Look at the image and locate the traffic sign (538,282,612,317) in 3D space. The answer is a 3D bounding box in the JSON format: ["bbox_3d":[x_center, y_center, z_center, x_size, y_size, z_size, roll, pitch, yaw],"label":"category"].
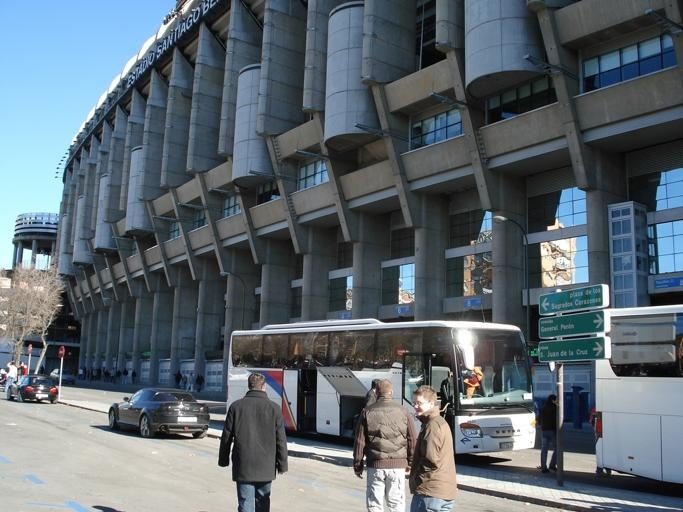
[{"bbox_3d":[5.947,0.953,15.273,1.026,0.743,1.737,2,-7,-32],"label":"traffic sign"}]

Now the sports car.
[{"bbox_3d":[-6.828,5.339,23.636,2.371,1.384,5.044,8,-13,-38],"label":"sports car"}]

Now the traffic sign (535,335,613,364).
[{"bbox_3d":[5.519,2.023,14.851,0.567,0.498,1.684,5,-14,-28],"label":"traffic sign"}]
